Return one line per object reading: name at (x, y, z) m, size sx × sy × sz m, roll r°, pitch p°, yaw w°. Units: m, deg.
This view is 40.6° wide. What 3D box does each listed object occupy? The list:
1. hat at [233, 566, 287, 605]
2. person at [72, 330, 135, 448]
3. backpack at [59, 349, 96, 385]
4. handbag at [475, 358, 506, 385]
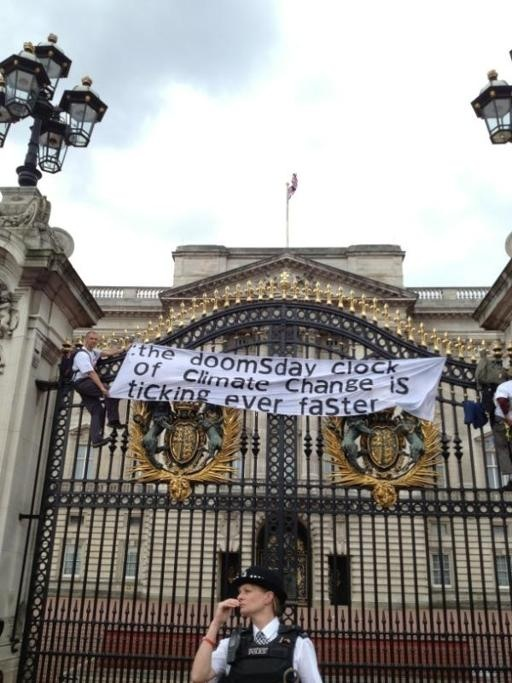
hat at (0.057, 1.404, 4.029) m, size 0.292 × 0.103 × 0.245 m, roll 28°, pitch -26°, yaw -13°
person at (-1.961, 0.557, 8.560) m, size 0.693 × 1.581 × 0.579 m, roll 8°, pitch -24°, yaw -14°
backpack at (-2.197, 0.296, 8.554) m, size 0.452 × 0.430 × 0.469 m, roll 1°, pitch -5°, yaw 28°
handbag at (2.776, 0.366, 8.198) m, size 0.296 × 0.308 × 0.174 m, roll 3°, pitch -12°, yaw -21°
